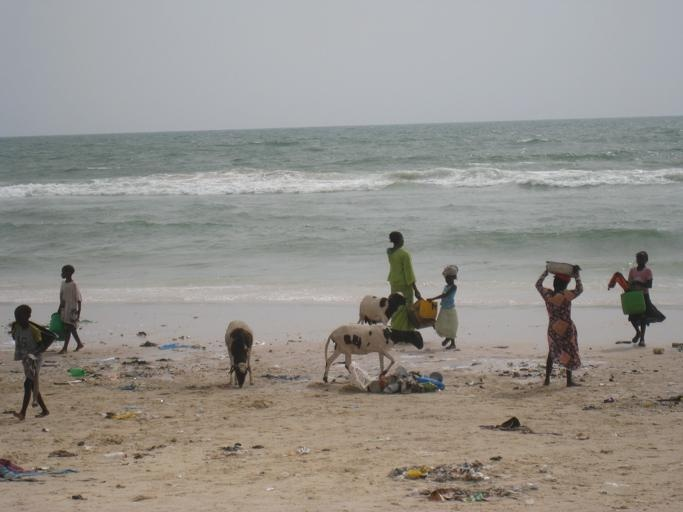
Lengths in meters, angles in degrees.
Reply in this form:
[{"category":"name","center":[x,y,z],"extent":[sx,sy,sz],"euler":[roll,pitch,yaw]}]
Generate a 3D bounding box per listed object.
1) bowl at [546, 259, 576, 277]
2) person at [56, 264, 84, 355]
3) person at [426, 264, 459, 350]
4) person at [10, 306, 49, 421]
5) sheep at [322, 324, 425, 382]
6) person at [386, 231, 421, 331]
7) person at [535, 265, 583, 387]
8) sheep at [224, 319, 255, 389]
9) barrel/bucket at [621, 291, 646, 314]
[{"category":"bowl","center":[4.526,0.289,25.163],"extent":[0.598,0.313,0.735],"euler":[-2,-2,9]},{"category":"person","center":[-6.361,1.266,28.257],"extent":[0.545,2.031,1.380],"euler":[-2,-2,-13]},{"category":"person","center":[2.368,1.207,28.008],"extent":[0.584,1.956,1.278],"euler":[-3,-2,4]},{"category":"person","center":[-6.275,2.158,24.461],"extent":[0.760,2.288,0.808],"euler":[-2,-2,-14]},{"category":"sheep","center":[0.527,2.093,26.214],"extent":[2.014,1.229,1.473],"euler":[-1,-2,-25]},{"category":"person","center":[1.330,0.542,26.471],"extent":[0.653,2.170,0.491],"euler":[-3,-2,2]},{"category":"person","center":[4.516,1.488,25.110],"extent":[0.898,2.505,0.536],"euler":[-3,-2,13]},{"category":"sheep","center":[-2.190,2.094,25.940],"extent":[0.654,1.326,0.513],"euler":[-1,-2,5]},{"category":"barrel/bucket","center":[6.630,1.069,27.603],"extent":[0.530,0.480,0.296],"euler":[-6,-13,23]}]
